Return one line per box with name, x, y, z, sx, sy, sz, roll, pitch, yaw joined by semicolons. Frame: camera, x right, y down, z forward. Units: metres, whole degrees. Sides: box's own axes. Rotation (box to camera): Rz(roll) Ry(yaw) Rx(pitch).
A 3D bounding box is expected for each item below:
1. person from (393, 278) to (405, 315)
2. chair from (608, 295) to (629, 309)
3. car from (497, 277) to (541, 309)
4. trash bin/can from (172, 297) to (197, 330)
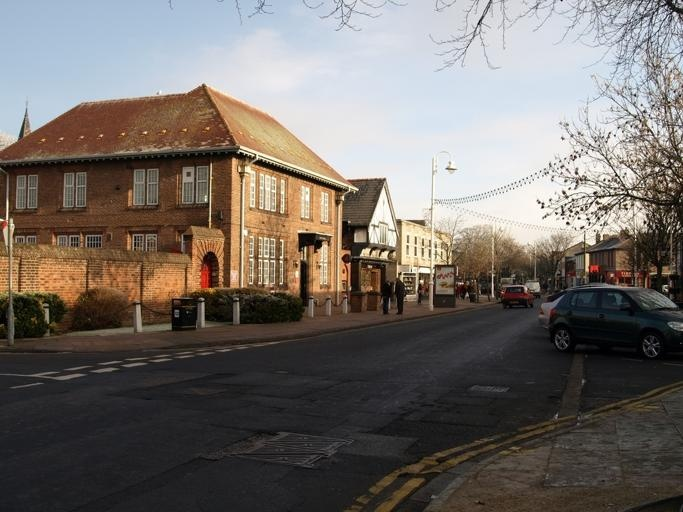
person;2.989;2.059;37.738;0.403;1.594;1.074;1;0;4
chair;7.037;1.152;18.756;0.292;0.379;0.150;15;2;24
car;12.317;2.790;51.174;2.096;1.563;2.687;1;0;8
trash bin/can;-5.763;2.016;25.709;0.776;1.230;1.133;-2;-6;18
